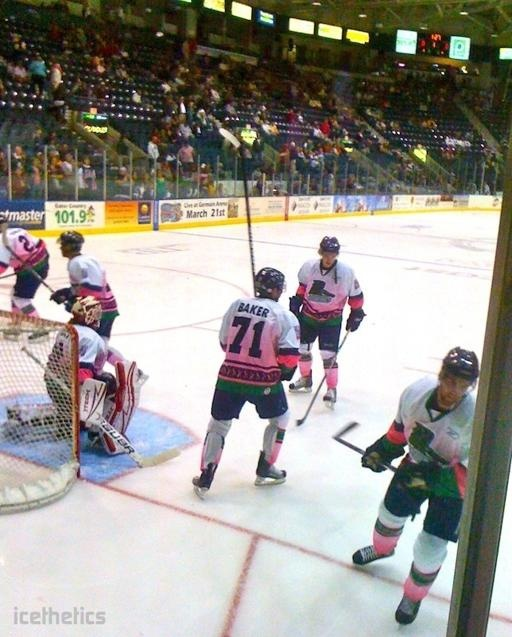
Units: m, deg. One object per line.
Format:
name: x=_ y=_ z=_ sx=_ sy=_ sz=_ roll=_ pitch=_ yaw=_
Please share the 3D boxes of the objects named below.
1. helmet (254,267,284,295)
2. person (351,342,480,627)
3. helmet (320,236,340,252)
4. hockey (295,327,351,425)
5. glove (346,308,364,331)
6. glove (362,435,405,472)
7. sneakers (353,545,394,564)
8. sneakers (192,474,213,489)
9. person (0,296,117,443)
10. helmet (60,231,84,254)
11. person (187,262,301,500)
helmet: x=0.082 y=-0.212 z=3.107 sx=0.170 sy=0.154 sz=0.133 roll=-13 pitch=25 yaw=-32
person: x=0.595 y=0.616 z=2.082 sx=0.232 sy=1.063 sz=0.425 roll=1 pitch=10 yaw=-17
helmet: x=0.608 y=-0.604 z=4.443 sx=0.124 sy=0.142 sz=0.155 roll=2 pitch=-2 yaw=-13
hockey: x=0.577 y=0.522 z=4.813 sx=0.079 sy=0.836 sz=0.131 roll=39 pitch=-13 yaw=-34
glove: x=0.855 y=-0.006 z=4.745 sx=0.135 sy=0.199 sz=0.077 roll=35 pitch=40 yaw=18
glove: x=0.513 y=0.545 z=2.219 sx=0.159 sy=0.059 sz=0.155 roll=-33 pitch=4 yaw=18
sneakers: x=0.520 y=1.041 z=2.416 sx=0.174 sy=0.052 sz=0.166 roll=-2 pitch=-12 yaw=1
sneakers: x=-0.300 y=0.890 z=3.067 sx=0.070 sy=0.079 sz=0.120 roll=18 pitch=16 yaw=-22
person: x=-1.153 y=0.338 z=3.423 sx=0.704 sy=0.926 sz=0.690 roll=7 pitch=10 yaw=19
helmet: x=-1.618 y=-0.678 z=4.759 sx=0.219 sy=0.168 sz=0.162 roll=24 pitch=36 yaw=18
person: x=-0.046 y=0.365 z=3.094 sx=0.535 sy=1.293 sz=0.398 roll=4 pitch=10 yaw=1
